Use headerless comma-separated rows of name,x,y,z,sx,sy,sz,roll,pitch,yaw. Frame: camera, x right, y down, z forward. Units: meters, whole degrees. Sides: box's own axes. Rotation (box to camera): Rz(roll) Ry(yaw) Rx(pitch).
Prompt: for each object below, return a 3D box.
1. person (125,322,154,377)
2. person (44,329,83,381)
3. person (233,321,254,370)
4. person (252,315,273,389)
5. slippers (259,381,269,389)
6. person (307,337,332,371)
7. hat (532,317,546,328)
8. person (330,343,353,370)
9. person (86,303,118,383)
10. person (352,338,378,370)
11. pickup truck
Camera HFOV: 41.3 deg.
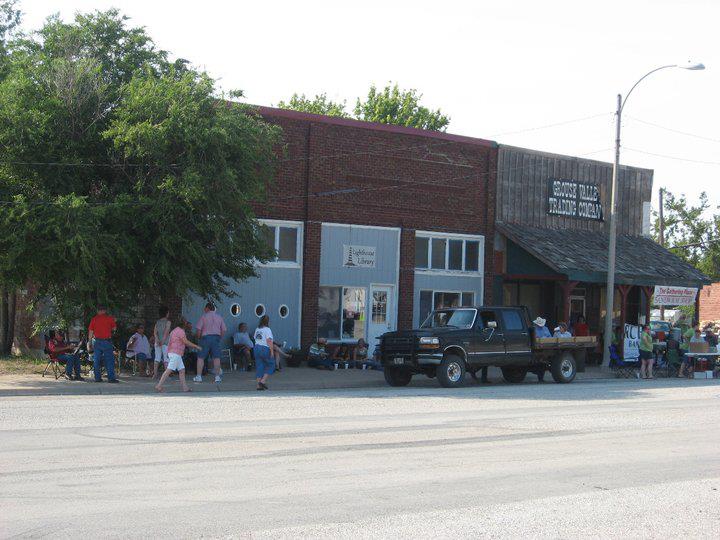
person,-6.153,2.126,26.669,0.656,1.407,0.767,1,4,8
person,-7.911,2.244,25.587,0.872,1.302,0.852,5,-6,-29
person,-3.571,2.301,29.578,0.771,1.547,0.632,-16,-18,39
person,-2.450,2.056,24.535,0.631,1.907,0.693,3,3,39
slippers,-2.509,2.941,24.659,0.194,0.249,0.580,-1,-4,-3
person,-1.323,2.734,31.715,0.823,1.008,0.966,2,-6,-4
hat,5.870,1.669,31.389,0.390,0.194,0.461,8,19,-20
person,-0.637,2.841,32.339,0.850,0.944,1.763,2,-6,-2
person,-6.706,1.818,24.953,0.688,2.124,0.625,2,19,-8
person,0.102,2.889,32.501,0.620,1.066,0.996,2,-12,-4
pickup truck,3.966,2.276,28.302,7.347,2.435,2.292,8,-8,-39
